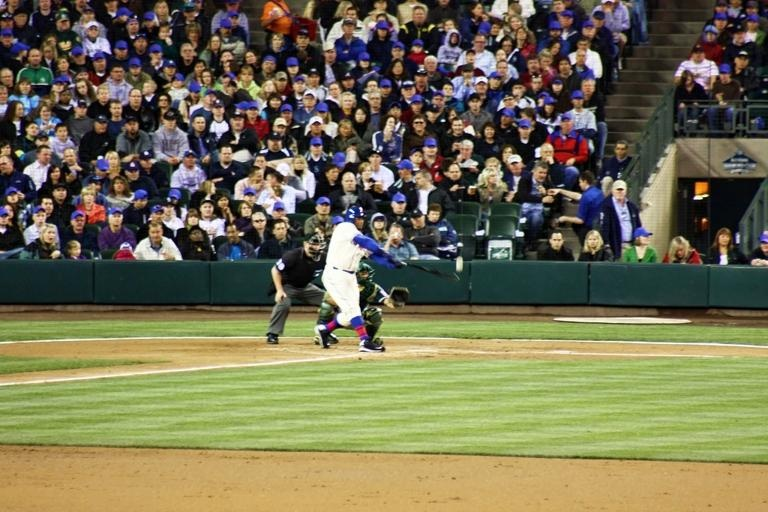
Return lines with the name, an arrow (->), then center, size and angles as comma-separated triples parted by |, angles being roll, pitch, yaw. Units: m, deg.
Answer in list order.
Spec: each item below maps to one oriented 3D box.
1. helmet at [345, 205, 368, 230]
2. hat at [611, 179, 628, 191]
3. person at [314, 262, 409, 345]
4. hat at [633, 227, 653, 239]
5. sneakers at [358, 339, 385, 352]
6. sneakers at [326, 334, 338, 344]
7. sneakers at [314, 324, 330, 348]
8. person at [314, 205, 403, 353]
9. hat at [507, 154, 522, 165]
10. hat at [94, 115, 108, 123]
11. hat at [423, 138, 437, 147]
helmet -> -0.496, -0.712, 31.056 | 0.567, 0.447, 0.390 | 1, 7, 6
hat -> 4.695, -1.397, 32.784 | 0.320, 0.188, 0.431 | 1, 2, 4
person -> -0.266, 0.852, 28.940 | 1.986, 1.285, 0.959 | 3, -1, 41
hat -> 5.190, -0.463, 32.920 | 0.364, 0.217, 0.323 | 1, -2, -3
sneakers -> -0.143, 1.566, 28.441 | 0.545, 0.211, 0.183 | 0, 0, 4
sneakers -> -0.879, 1.473, 29.156 | 0.275, 0.158, 0.086 | -3, 23, -6
sneakers -> -1.034, 1.410, 28.847 | 0.240, 0.441, 0.188 | 2, -11, -33
person -> -0.506, 0.552, 28.429 | 1.511, 2.230, 0.653 | -1, -3, 41
hat -> 2.653, -1.962, 33.438 | 0.299, 0.119, 0.380 | -2, 2, 6
hat -> -5.951, -2.909, 34.927 | 0.269, 0.187, 0.385 | 1, -2, -9
hat -> 0.978, -2.358, 34.011 | 0.261, 0.217, 0.290 | 1, -2, -1
